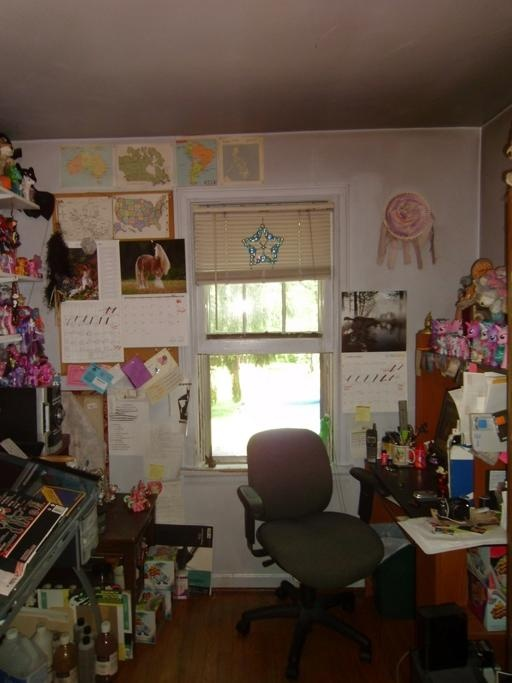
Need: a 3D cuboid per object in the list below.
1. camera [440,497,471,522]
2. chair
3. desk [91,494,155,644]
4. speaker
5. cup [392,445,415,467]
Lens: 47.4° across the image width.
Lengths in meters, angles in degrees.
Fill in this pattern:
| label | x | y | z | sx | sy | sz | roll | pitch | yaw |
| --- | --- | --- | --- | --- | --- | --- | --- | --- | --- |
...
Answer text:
| label | x | y | z | sx | sy | sz | roll | pitch | yaw |
| --- | --- | --- | --- | --- | --- | --- | --- | --- | --- |
| camera | 0.788 | 0.665 | 2.303 | 0.092 | 0.089 | 0.091 | 2 | 3 | -17 |
| chair | 0.219 | 0.928 | 2.676 | 0.628 | 0.928 | 0.651 | -3 | 9 | -9 |
| desk | -0.602 | 1.013 | 2.746 | 0.250 | 0.547 | 0.502 | -2 | 9 | -7 |
| speaker | 0.656 | 1.043 | 2.053 | 0.183 | 0.241 | 0.135 | -4 | 13 | -1 |
| cup | 0.748 | 0.580 | 2.930 | 0.112 | 0.091 | 0.071 | 2 | 1 | 16 |
